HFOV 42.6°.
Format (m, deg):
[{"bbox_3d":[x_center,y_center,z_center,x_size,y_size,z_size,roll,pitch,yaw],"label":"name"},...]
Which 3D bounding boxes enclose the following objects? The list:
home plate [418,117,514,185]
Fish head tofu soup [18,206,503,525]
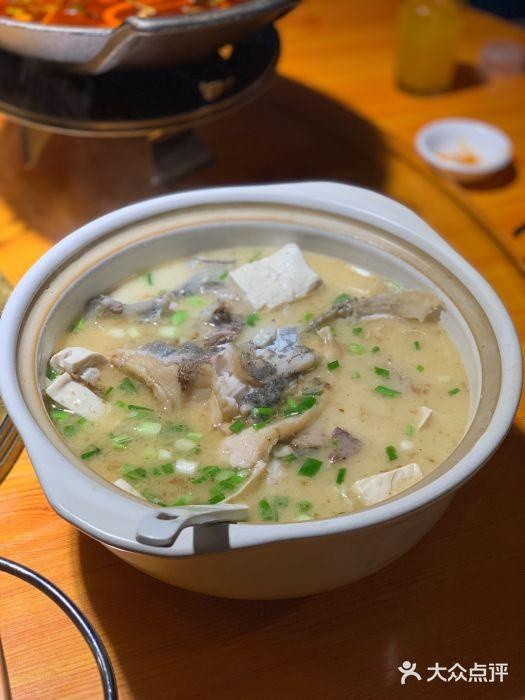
[{"bbox_3d":[0.422,-0.401,1.372,0.183,0.056,0.129,11,41,14],"label":"home plate"},{"bbox_3d":[-0.005,0.103,1.171,0.659,0.129,0.508,-1,44,-1],"label":"Fish head tofu soup"}]
